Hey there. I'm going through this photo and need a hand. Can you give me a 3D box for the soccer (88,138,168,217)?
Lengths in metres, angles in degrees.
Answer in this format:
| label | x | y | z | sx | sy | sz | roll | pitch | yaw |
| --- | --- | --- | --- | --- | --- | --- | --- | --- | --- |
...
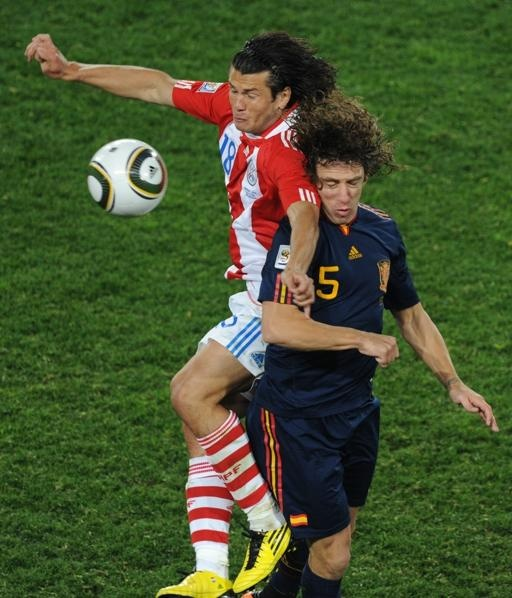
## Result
| label | x | y | z | sx | sy | sz | roll | pitch | yaw |
| --- | --- | --- | --- | --- | --- | --- | --- | --- | --- |
| soccer | -0.695 | -0.679 | 4.961 | 0.509 | 0.434 | 0.458 | -17 | 10 | -9 |
